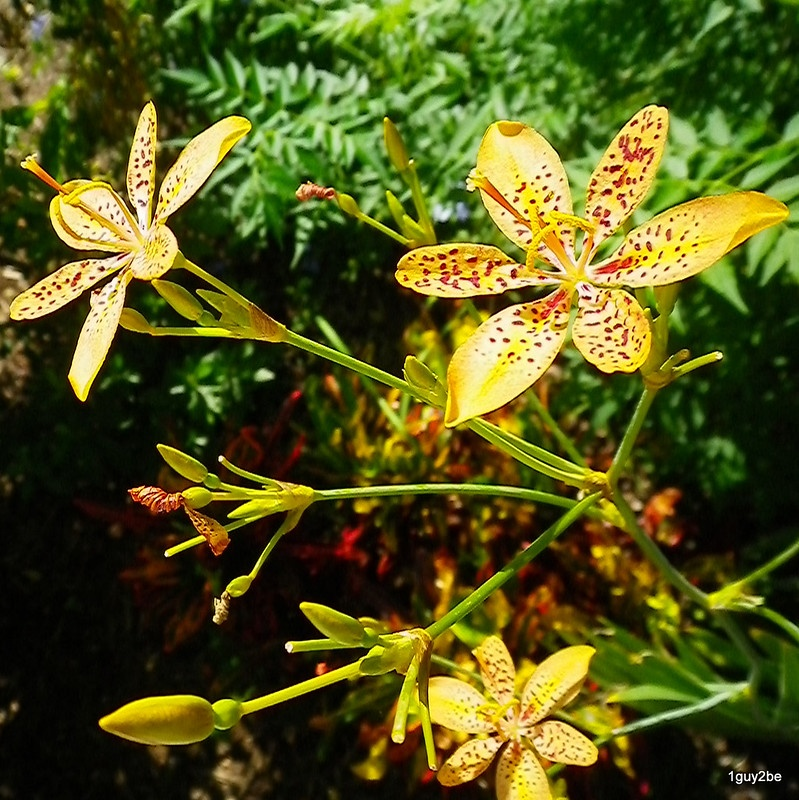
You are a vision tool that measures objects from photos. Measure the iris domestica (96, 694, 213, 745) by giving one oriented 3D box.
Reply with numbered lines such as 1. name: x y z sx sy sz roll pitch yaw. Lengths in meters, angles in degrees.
1. iris domestica: -0.293 0.396 1.132 0.112 0.045 0.074 10 51 -19
